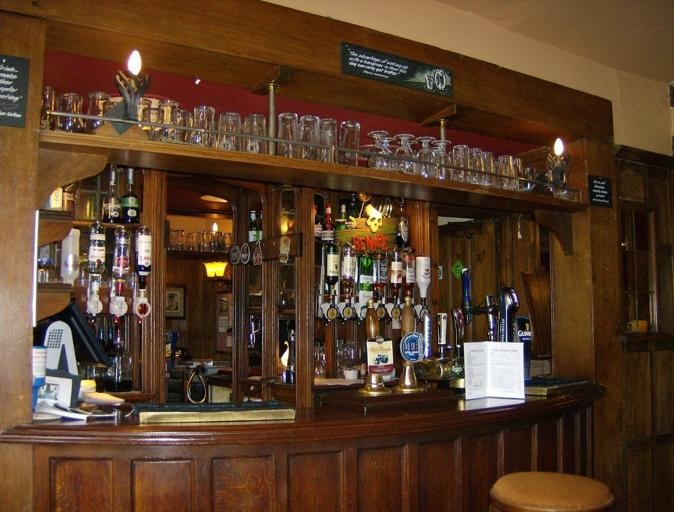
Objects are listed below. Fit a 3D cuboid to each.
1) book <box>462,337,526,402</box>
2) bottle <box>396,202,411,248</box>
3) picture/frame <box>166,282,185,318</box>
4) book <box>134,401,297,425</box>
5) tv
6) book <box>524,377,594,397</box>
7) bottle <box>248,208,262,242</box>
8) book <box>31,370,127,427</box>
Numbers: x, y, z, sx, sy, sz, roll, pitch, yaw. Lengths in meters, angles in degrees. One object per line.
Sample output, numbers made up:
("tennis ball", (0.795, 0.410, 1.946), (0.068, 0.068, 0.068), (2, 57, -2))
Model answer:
("book", (1.012, 0.724, 4.144), (0.426, 0.353, 0.216), (-1, -6, 0))
("bottle", (0.608, -0.271, 5.916), (0.134, 0.483, 0.124), (-2, 2, 0))
("picture/frame", (-2.695, 0.777, 10.988), (0.286, 0.565, 0.072), (2, -6, -27))
("book", (-0.614, 0.799, 3.334), (0.798, 0.089, 0.295), (1, -6, -16))
("tv", (-1.582, 0.462, 3.885), (0.394, 0.368, 0.437), (2, -6, -27))
("book", (1.465, 0.879, 4.447), (0.346, 0.086, 0.700), (-5, -7, 33))
("bottle", (-0.755, -0.282, 6.067), (0.112, 0.305, 0.263), (0, -6, -11))
("book", (-1.363, 0.776, 3.523), (0.281, 0.146, 0.393), (0, -5, 30))
